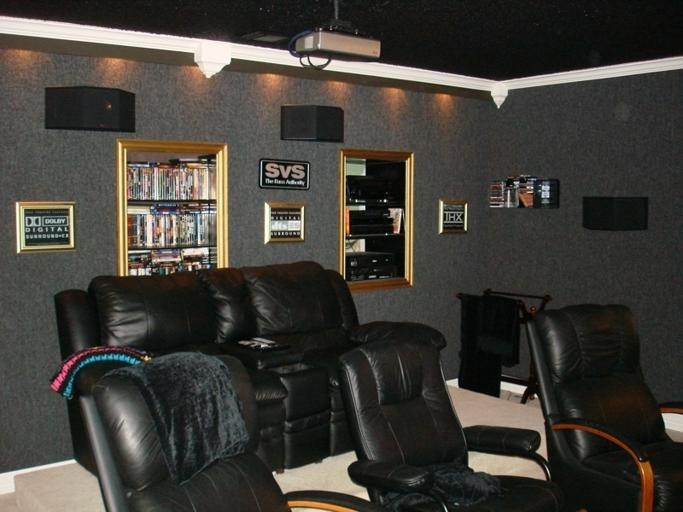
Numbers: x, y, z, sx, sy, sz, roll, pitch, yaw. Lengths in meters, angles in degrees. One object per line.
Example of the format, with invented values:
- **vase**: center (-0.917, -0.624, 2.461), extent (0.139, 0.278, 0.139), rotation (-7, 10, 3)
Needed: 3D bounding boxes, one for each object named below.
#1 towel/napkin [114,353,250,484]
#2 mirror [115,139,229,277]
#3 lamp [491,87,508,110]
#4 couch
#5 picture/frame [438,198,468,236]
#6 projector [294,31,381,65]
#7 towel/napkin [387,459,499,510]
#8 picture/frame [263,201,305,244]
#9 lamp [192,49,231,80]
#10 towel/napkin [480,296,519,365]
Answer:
- **towel/napkin**: center (-0.677, 0.694, 2.408), extent (0.167, 0.496, 0.496), rotation (-25, -9, 40)
- **mirror**: center (-1.511, -0.427, 4.988), extent (1.253, 1.600, 0.070), rotation (-1, 3, -34)
- **lamp**: center (1.836, -1.818, 6.613), extent (0.192, 0.213, 0.270), rotation (-2, 3, 17)
- **couch**: center (-0.655, 0.855, 4.614), extent (2.931, 1.419, 1.318), rotation (-1, 1, -40)
- **picture/frame**: center (1.296, -0.445, 6.637), extent (0.481, 0.391, 0.035), rotation (-3, 6, -37)
- **projector**: center (-0.031, -1.293, 3.528), extent (0.543, 0.138, 0.246), rotation (-3, 2, -3)
- **towel/napkin**: center (0.557, 1.184, 2.909), extent (0.412, 0.121, 0.311), rotation (-3, 3, -36)
- **picture/frame**: center (-0.572, -0.319, 5.502), extent (0.427, 0.365, 0.031), rotation (-1, 1, -33)
- **lamp**: center (-1.088, -1.575, 4.780), extent (0.219, 0.211, 0.213), rotation (-3, 0, -43)
- **towel/napkin**: center (1.617, 0.805, 6.068), extent (0.620, 0.681, 0.074), rotation (13, -14, -28)
